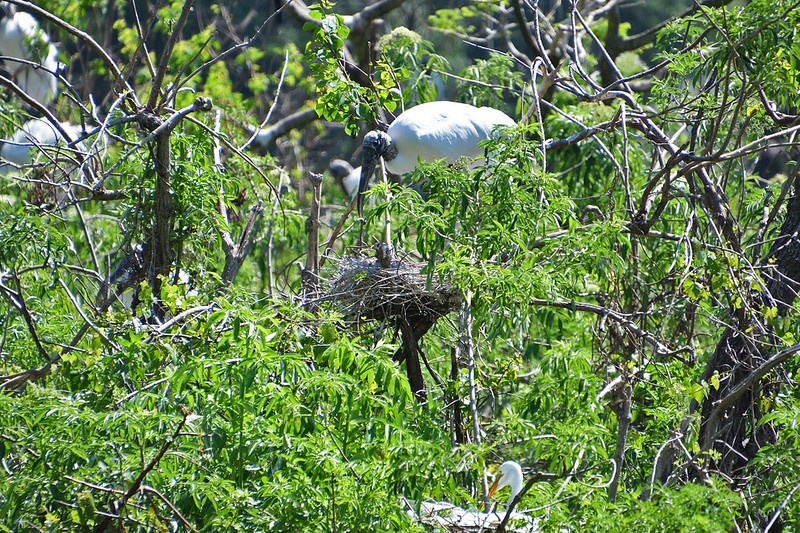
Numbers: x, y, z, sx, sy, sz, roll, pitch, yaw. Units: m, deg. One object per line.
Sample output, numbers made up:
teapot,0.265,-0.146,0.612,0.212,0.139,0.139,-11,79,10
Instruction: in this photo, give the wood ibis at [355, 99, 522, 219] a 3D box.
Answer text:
wood ibis,0.339,-0.768,11.416,1.302,0.909,0.720,1,-13,-17
